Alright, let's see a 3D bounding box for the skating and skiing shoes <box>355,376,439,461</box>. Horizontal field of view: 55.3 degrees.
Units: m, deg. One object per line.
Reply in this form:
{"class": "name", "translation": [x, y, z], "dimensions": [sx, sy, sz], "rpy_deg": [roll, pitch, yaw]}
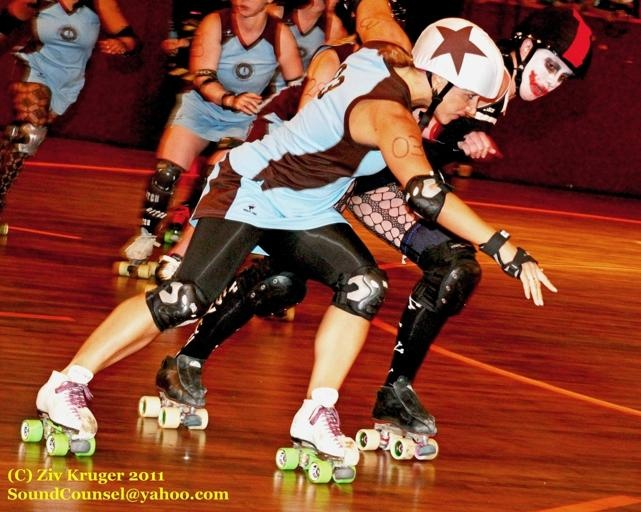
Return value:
{"class": "skating and skiing shoes", "translation": [0.305, 0.635, 2.335], "dimensions": [0.209, 0.265, 0.340], "rpy_deg": [10, -8, -32]}

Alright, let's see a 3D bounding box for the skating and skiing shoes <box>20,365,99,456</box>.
{"class": "skating and skiing shoes", "translation": [-0.806, 0.481, 1.922], "dimensions": [0.277, 0.273, 0.157], "rpy_deg": [17, 12, 37]}

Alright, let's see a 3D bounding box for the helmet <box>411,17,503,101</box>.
{"class": "helmet", "translation": [0.454, -0.646, 2.055], "dimensions": [0.307, 0.240, 0.244], "rpy_deg": [24, 12, 8]}

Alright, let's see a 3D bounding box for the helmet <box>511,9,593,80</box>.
{"class": "helmet", "translation": [1.106, -0.958, 2.848], "dimensions": [0.301, 0.353, 0.280], "rpy_deg": [-2, 22, -7]}

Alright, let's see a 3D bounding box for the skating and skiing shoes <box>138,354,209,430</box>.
{"class": "skating and skiing shoes", "translation": [-0.583, 0.502, 2.312], "dimensions": [0.145, 0.214, 0.420], "rpy_deg": [11, 0, -22]}

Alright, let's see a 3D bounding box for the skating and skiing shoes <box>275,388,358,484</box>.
{"class": "skating and skiing shoes", "translation": [0.006, 0.607, 2.028], "dimensions": [0.176, 0.259, 0.279], "rpy_deg": [16, -9, -42]}
